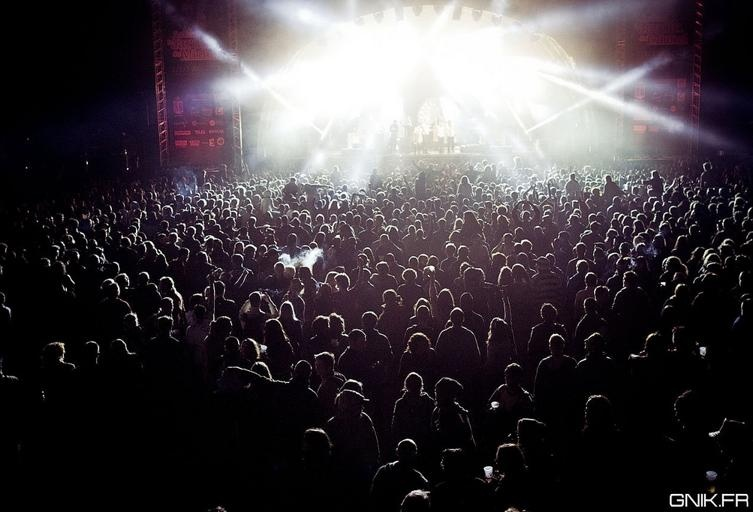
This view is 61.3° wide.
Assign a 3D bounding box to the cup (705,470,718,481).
[{"bbox_3d":[4.013,2.635,7.614,0.103,0.071,0.101,-9,4,1],"label":"cup"}]
